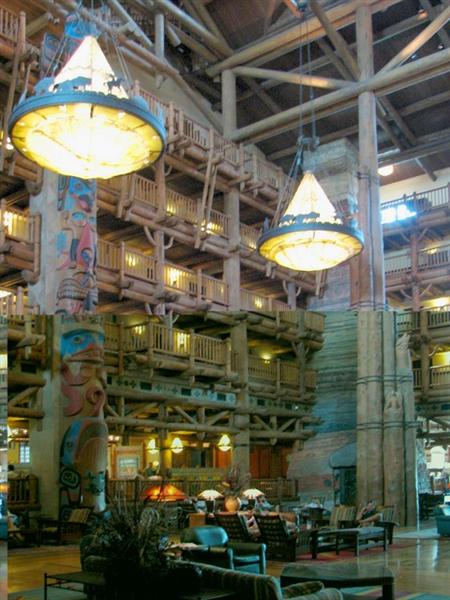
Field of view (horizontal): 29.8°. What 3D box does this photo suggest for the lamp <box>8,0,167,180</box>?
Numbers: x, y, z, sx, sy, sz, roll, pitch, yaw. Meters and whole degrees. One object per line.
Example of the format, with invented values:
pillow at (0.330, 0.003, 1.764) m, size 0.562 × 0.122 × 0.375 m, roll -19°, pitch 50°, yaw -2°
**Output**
lamp at (-1.389, -2.188, 8.986) m, size 1.713 × 1.545 × 1.568 m, roll -5°, pitch -12°, yaw 9°
